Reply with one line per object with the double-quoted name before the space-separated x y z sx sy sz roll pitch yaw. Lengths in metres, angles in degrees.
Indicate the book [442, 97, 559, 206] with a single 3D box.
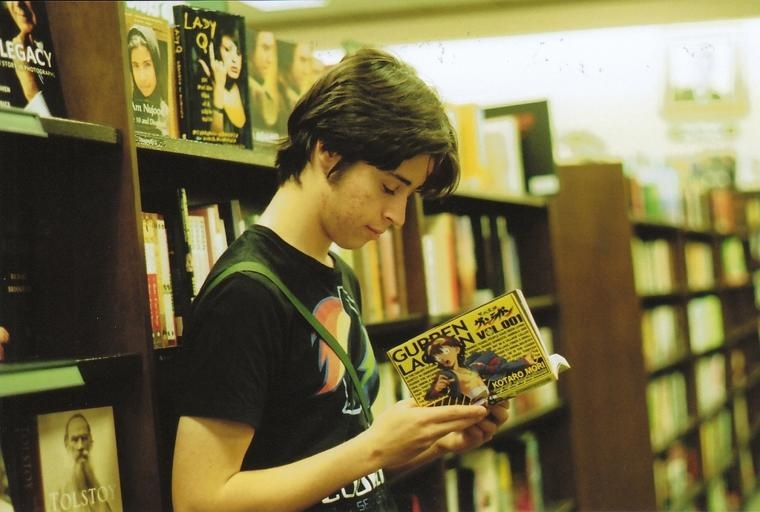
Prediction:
"book" 0.539 -0.455 3.180 0.431 0.602 0.591 -5 -3 36
